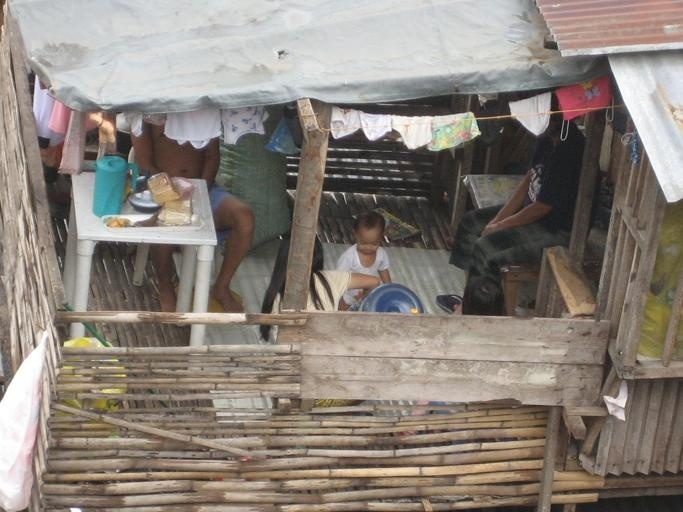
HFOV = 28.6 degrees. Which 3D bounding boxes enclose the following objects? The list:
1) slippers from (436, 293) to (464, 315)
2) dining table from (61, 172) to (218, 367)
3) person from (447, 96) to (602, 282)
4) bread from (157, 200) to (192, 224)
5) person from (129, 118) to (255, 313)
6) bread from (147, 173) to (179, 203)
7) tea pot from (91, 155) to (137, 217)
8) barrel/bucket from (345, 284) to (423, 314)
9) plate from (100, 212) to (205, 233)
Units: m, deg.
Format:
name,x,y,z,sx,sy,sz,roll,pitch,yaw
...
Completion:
name,x,y,z,sx,sy,sz,roll,pitch,yaw
slippers,0.823,0.339,10.015,0.234,0.096,0.089,38,41,14
dining table,-1.359,0.064,9.206,1.280,1.110,1.163,3,43,-12
person,1.334,-0.448,9.967,0.993,1.552,0.763,-1,26,-2
bread,-1.091,-0.288,8.809,0.190,0.041,0.172,0,37,-7
person,-1.074,-0.247,9.325,0.667,1.664,1.007,-12,56,-16
bread,-1.211,-0.427,8.995,0.162,0.080,0.231,-23,47,-21
tea pot,-1.501,-0.463,8.901,0.241,0.406,0.476,0,3,23
barrel/bucket,0.334,0.278,8.951,0.409,0.188,0.107,-1,3,2
plate,-1.236,-0.222,8.749,0.655,0.102,0.249,-2,3,-10
